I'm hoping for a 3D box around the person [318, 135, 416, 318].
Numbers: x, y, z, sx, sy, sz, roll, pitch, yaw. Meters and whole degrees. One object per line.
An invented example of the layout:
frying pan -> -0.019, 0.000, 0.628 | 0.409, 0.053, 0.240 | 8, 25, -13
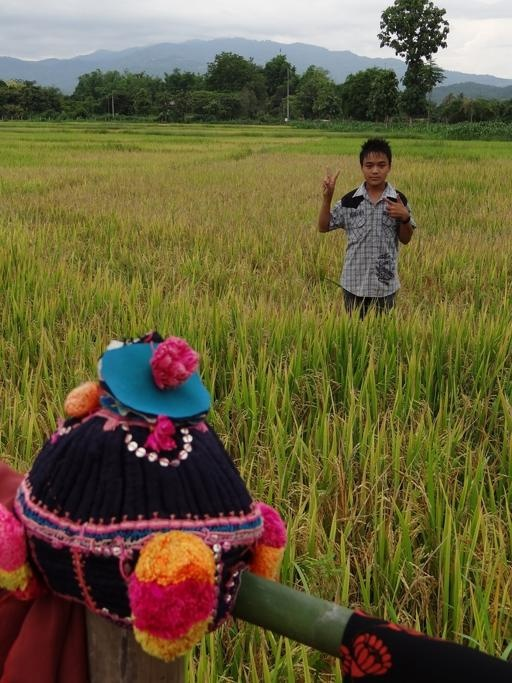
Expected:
person -> 0.750, -0.765, 3.818 | 0.657, 1.231, 0.527 | 3, 7, 16
